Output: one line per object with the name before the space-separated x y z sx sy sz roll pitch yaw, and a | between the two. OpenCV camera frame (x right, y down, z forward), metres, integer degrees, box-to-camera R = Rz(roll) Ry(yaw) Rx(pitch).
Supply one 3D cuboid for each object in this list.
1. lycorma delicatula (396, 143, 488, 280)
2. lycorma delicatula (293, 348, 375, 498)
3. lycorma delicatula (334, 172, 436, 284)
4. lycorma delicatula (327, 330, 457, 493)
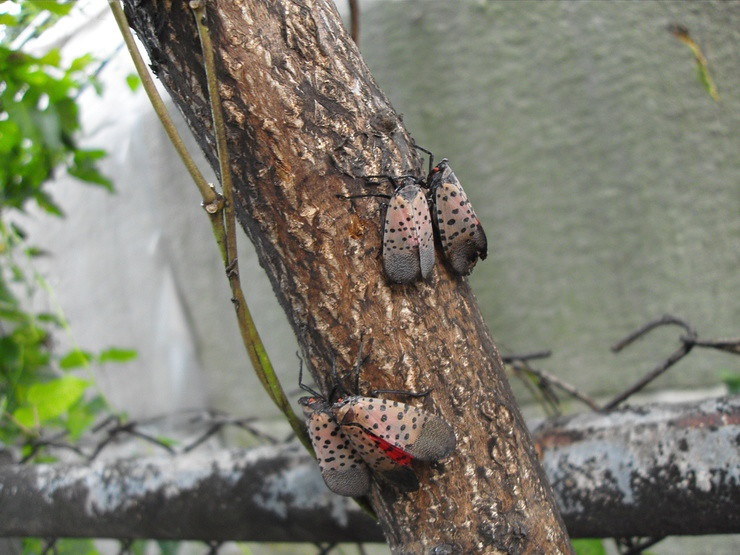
lycorma delicatula | 0.264 -0.241 4.005 0.142 0.291 0.452 -37 106 16
lycorma delicatula | -0.062 0.448 3.970 0.297 0.109 0.397 -31 84 43
lycorma delicatula | 0.091 -0.149 3.879 0.327 0.093 0.308 2 88 -21
lycorma delicatula | 0.058 0.475 3.815 0.357 0.176 0.224 23 69 27
